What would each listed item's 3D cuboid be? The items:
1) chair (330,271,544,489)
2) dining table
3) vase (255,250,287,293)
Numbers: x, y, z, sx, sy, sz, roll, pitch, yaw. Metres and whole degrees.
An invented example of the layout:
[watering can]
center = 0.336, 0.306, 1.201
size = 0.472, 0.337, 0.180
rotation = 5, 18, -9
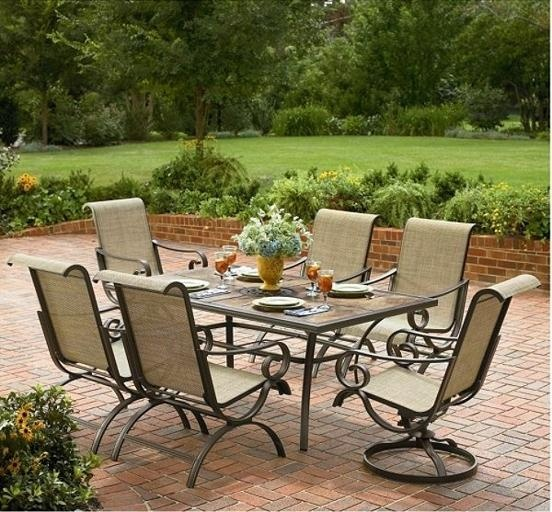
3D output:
[chair]
center = 0.971, 0.660, 3.322
size = 1.505, 1.325, 0.899
rotation = 3, 7, 39
[dining table]
center = 0.262, 0.325, 3.379
size = 1.972, 0.756, 1.129
rotation = 6, 10, 43
[vase]
center = -0.071, 0.105, 3.656
size = 0.283, 0.281, 0.279
rotation = -5, 14, -18
